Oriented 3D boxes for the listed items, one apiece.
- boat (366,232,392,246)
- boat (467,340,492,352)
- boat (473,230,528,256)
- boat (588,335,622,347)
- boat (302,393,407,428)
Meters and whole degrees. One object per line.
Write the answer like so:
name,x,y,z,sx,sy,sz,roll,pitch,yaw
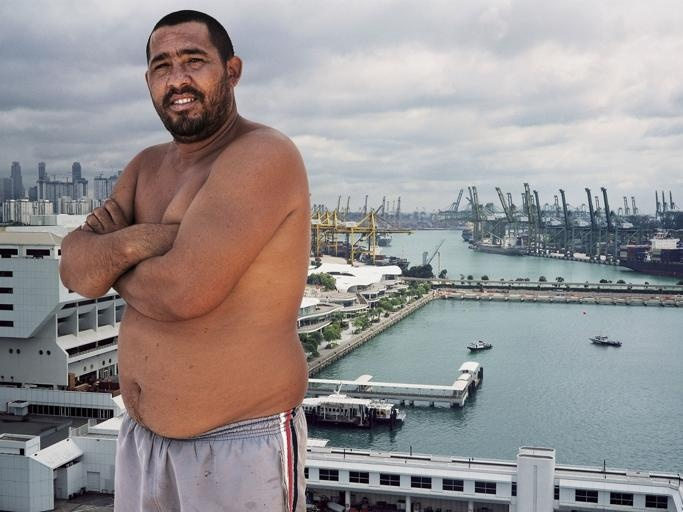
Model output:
boat,2.542,-0.871,49.503,0.949,0.805,3.483,-1,-2,2
boat,2.515,1.622,14.745,0.171,0.173,0.561,3,-1,38
boat,8.196,-0.492,42.509,0.876,1.059,3.304,-5,2,-37
boat,4.903,1.596,15.181,0.581,0.099,0.626,1,4,23
boat,0.156,1.930,10.242,1.272,0.326,0.601,0,4,4
